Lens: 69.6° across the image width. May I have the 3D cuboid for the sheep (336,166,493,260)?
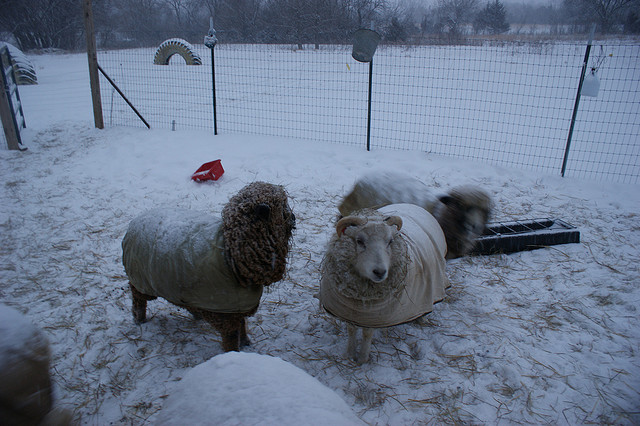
[{"bbox_3d":[1.597,-0.170,8.227,2.431,1.736,1.380,23,32,28],"label":"sheep"}]

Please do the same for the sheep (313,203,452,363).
[{"bbox_3d":[1.097,0.615,7.054,1.369,1.887,2.415,8,26,27],"label":"sheep"}]

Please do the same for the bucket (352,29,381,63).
[{"bbox_3d":[1.036,-3.880,10.483,0.571,0.573,0.698,11,23,-7],"label":"bucket"}]
